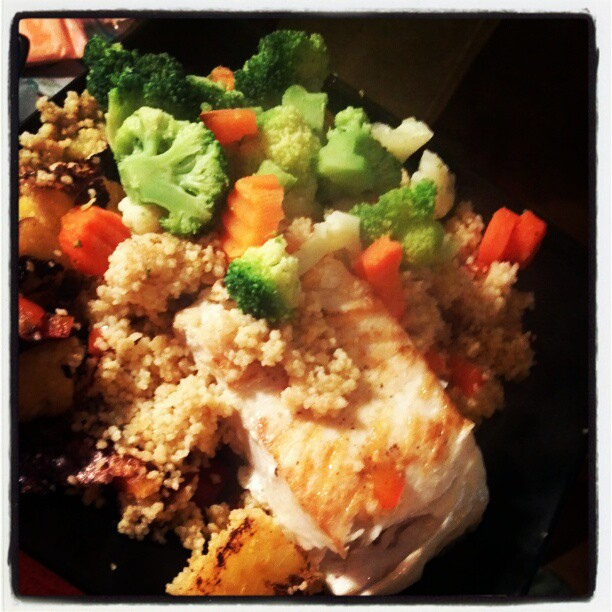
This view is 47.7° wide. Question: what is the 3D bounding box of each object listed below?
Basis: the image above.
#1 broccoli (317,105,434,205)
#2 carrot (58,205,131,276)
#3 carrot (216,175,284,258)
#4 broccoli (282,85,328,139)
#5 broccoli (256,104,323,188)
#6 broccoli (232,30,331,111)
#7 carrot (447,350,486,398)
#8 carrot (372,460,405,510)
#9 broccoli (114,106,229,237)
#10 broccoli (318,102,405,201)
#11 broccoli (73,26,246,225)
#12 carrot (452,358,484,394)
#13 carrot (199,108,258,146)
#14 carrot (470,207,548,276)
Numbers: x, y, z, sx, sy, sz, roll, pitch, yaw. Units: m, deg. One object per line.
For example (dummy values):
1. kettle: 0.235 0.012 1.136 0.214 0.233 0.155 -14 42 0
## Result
1. broccoli: 0.149 -0.416 1.848 0.273 0.084 0.288 -42 119 -23
2. carrot: -0.544 -0.167 1.775 0.185 0.090 0.139 11 58 4
3. carrot: -0.132 -0.216 1.711 0.183 0.046 0.185 -28 84 15
4. broccoli: -0.004 -0.494 1.816 0.122 0.036 0.131 11 92 7
5. broccoli: -0.041 -0.411 1.783 0.191 0.061 0.202 8 76 -40
6. broccoli: -0.048 -0.636 1.867 0.221 0.298 0.091 -9 92 -24
7. carrot: 0.420 0.185 1.874 0.076 0.049 0.139 -37 82 1
8. carrot: 0.201 0.443 1.707 0.077 0.071 0.099 -1 58 -3
9. broccoli: -0.310 -0.336 1.711 0.258 0.093 0.324 -24 94 12
10. broccoli: 0.132 -0.390 1.788 0.217 0.063 0.245 -3 81 -2
11. broccoli: -0.373 -0.444 1.724 0.439 0.268 0.434 -3 58 -4
12. carrot: 0.430 0.189 1.864 0.088 0.030 0.070 38 64 19
13. carrot: -0.220 -0.470 1.795 0.137 0.188 0.052 1 85 -38
14. carrot: 0.552 -0.183 1.878 0.184 0.049 0.195 18 97 -6
